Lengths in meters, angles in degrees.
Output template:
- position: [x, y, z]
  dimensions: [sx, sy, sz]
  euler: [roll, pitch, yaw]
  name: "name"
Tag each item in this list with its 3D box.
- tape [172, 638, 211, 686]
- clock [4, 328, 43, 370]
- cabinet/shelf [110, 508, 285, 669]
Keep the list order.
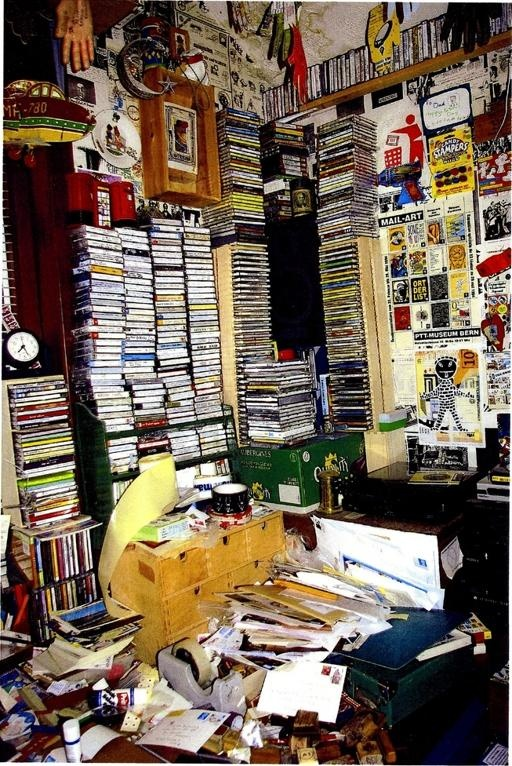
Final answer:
- position: [-0.232, 1.004, 2.073]
  dimensions: [0.185, 0.187, 0.061]
  euler: [15, 17, 39]
  name: "tape"
- position: [-1.080, -0.161, 2.623]
  dimensions: [0.037, 0.180, 0.162]
  euler: [-4, 4, 44]
  name: "clock"
- position: [-0.174, 0.866, 2.549]
  dimensions: [0.729, 0.498, 0.314]
  euler: [-9, 4, -39]
  name: "cabinet/shelf"
